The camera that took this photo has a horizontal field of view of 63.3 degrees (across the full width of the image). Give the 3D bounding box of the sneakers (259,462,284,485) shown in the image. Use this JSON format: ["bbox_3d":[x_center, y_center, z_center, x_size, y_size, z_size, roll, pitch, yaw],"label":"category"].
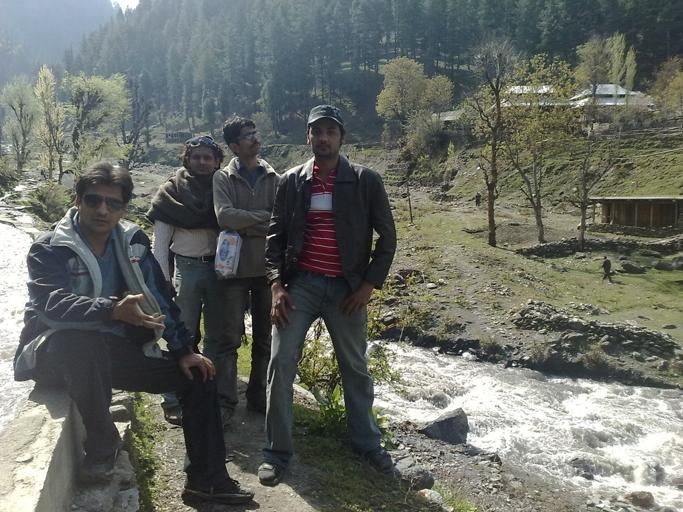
[{"bbox_3d":[-0.699,2.171,5.551,0.259,0.171,0.200,6,8,-8],"label":"sneakers"}]

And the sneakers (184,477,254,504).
[{"bbox_3d":[-1.130,2.199,5.294,0.684,0.303,0.251,3,-5,-5],"label":"sneakers"}]
